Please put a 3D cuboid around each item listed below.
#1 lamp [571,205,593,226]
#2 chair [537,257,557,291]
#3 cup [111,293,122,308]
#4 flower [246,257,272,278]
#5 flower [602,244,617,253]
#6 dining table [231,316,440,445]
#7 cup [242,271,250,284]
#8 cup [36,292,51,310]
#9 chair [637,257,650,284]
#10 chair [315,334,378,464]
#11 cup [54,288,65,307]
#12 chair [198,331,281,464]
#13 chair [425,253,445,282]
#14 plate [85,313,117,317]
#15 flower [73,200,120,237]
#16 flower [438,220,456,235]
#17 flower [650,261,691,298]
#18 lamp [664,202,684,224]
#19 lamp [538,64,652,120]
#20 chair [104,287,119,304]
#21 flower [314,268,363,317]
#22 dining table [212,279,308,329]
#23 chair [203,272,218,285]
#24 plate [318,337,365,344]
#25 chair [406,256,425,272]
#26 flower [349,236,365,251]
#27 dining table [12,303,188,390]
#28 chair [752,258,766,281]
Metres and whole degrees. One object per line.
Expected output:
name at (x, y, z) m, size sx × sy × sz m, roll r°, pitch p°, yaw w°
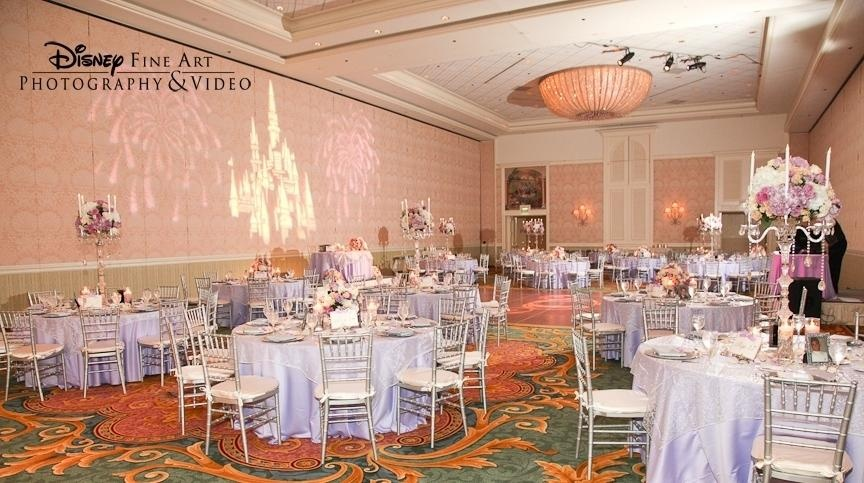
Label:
lamp at (6.807, -1.159, 23.402) m, size 0.797 × 0.996 × 0.328 m, roll 12°, pitch 28°, yaw 38°
chair at (3.878, 1.131, 17.501) m, size 0.648 × 0.961 × 0.370 m, roll -1°, pitch 0°, yaw 10°
cup at (-5.790, 1.098, 9.594) m, size 0.262 × 0.311 × 0.131 m, roll 0°, pitch -6°, yaw 37°
flower at (-4.606, 0.707, 13.751) m, size 0.516 × 0.852 × 0.492 m, roll 1°, pitch 3°, yaw -33°
flower at (6.789, 0.318, 19.685) m, size 0.504 × 0.247 × 0.571 m, roll 0°, pitch 4°, yaw 21°
dining table at (-1.430, 1.913, 7.603) m, size 1.952 × 0.859 × 1.837 m, roll 0°, pitch -1°, yaw -5°
cup at (-4.721, 0.929, 13.164) m, size 0.170 × 0.231 × 0.159 m, roll 2°, pitch 11°, yaw 0°
cup at (-7.434, 1.147, 9.928) m, size 0.291 × 0.417 × 0.282 m, roll 3°, pitch -1°, yaw 0°
chair at (7.547, 1.041, 18.481) m, size 0.448 × 0.854 × 1.049 m, roll -1°, pitch 0°, yaw 22°
chair at (-1.221, 2.109, 7.278) m, size 0.826 × 1.840 × 0.775 m, roll -1°, pitch 0°, yaw -13°
cup at (-7.214, 1.095, 10.043) m, size 0.220 × 0.380 × 0.206 m, roll 2°, pitch 12°, yaw 0°
chair at (-2.821, 2.148, 7.440) m, size 1.358 × 1.833 × 0.815 m, roll -1°, pitch 0°, yaw 38°
chair at (0.205, 0.951, 17.092) m, size 0.714 × 1.102 × 0.735 m, roll 1°, pitch 5°, yaw 6°
plate at (-5.727, 1.266, 8.997) m, size 0.251 × 0.045 × 0.228 m, roll 1°, pitch 0°, yaw 8°
flower at (-6.615, -0.430, 10.262) m, size 0.649 × 0.787 × 0.881 m, roll -1°, pitch 0°, yaw -38°
flower at (0.639, -0.547, 19.002) m, size 0.656 × 0.439 × 0.628 m, roll -7°, pitch -2°, yaw -39°
flower at (4.466, 0.738, 9.449) m, size 0.700 × 0.628 × 0.618 m, roll -5°, pitch 5°, yaw -22°
lamp at (10.356, -1.185, 22.118) m, size 0.959 × 1.149 × 0.371 m, roll -3°, pitch -2°, yaw 37°
lamp at (4.665, -4.219, 14.871) m, size 2.124 × 0.704 × 2.073 m, roll -2°, pitch 0°, yaw 21°
chair at (-6.497, 1.114, 10.514) m, size 0.382 × 0.379 × 0.359 m, roll -1°, pitch 2°, yaw -27°
flower at (-1.513, 0.811, 7.933) m, size 0.706 × 0.461 × 0.669 m, roll -1°, pitch 13°, yaw -19°
dining table at (-4.237, 1.285, 12.149) m, size 1.728 × 0.798 × 1.630 m, roll -1°, pitch -2°, yaw -1°
chair at (-5.570, 0.944, 13.004) m, size 0.244 × 0.268 × 0.415 m, roll 3°, pitch 7°, yaw 0°
plate at (-1.267, 1.396, 7.271) m, size 0.330 × 0.070 × 0.298 m, roll 1°, pitch -2°, yaw 7°
chair at (-0.531, 0.757, 16.892) m, size 0.686 × 0.709 × 0.582 m, roll 0°, pitch 1°, yaw 12°
flower at (-2.273, 0.106, 15.712) m, size 0.422 × 0.223 × 0.493 m, roll 0°, pitch 5°, yaw -11°
dining table at (-5.763, 1.807, 9.504) m, size 1.678 × 0.904 × 1.591 m, roll -1°, pitch -4°, yaw 0°
chair at (10.271, 0.856, 16.256) m, size 0.422 × 0.631 × 1.716 m, roll -1°, pitch 0°, yaw 32°
